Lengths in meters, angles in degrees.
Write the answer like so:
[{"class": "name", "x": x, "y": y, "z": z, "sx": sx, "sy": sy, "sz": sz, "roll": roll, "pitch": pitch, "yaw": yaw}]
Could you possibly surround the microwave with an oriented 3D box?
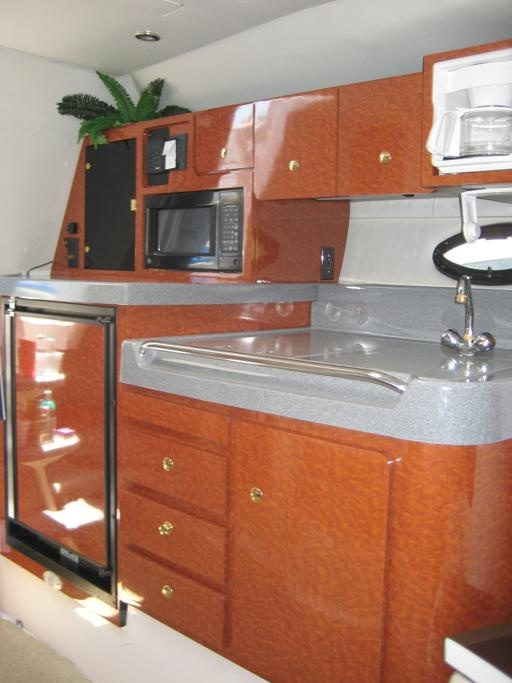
[{"class": "microwave", "x": -0.160, "y": -0.384, "z": 2.063, "sx": 0.456, "sy": 0.269, "sz": 0.248, "roll": 6, "pitch": 6, "yaw": 35}]
